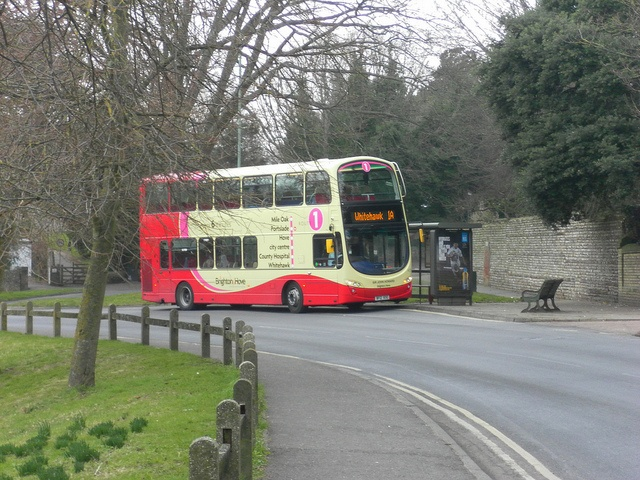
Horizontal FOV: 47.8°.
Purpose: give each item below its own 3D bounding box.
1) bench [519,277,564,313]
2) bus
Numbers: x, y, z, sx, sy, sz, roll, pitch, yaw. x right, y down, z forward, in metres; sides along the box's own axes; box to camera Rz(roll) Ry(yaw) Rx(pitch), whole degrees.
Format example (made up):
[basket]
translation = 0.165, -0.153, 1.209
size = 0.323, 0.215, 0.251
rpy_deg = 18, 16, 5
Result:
[bench]
translation = 7.445, 1.918, 24.986
size = 1.609, 1.335, 1.195
rpy_deg = 2, -1, -45
[bus]
translation = -2.354, -0.115, 28.872
size = 11.696, 5.467, 3.403
rpy_deg = -2, 2, 42
